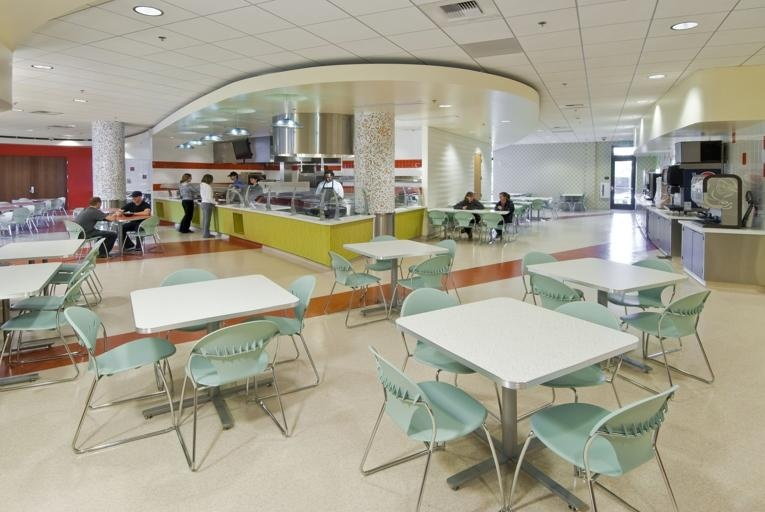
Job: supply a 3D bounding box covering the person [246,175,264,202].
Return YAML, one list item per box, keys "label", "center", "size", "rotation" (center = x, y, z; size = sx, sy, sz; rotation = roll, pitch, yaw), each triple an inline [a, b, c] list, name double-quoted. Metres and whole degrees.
- label: "person"
  center: [-3.047, -1.581, 12.179]
  size: [0.360, 0.635, 0.912]
  rotation: [-6, 9, -13]

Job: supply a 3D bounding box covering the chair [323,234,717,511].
- label: "chair"
  center: [1.150, 1.225, 4.578]
  size: [2.240, 1.346, 1.719]
  rotation: [-9, 16, -32]

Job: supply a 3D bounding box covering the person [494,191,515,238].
- label: "person"
  center: [3.079, -1.035, 12.894]
  size: [0.472, 1.129, 1.672]
  rotation: [0, 9, 15]

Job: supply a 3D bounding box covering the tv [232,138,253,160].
- label: "tv"
  center: [-4.626, -3.573, 16.994]
  size: [0.119, 0.521, 0.859]
  rotation: [-22, 18, -38]

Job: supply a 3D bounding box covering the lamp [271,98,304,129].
- label: "lamp"
  center: [-1.911, -2.819, 10.409]
  size: [0.840, 0.647, 0.706]
  rotation: [1, 6, -8]

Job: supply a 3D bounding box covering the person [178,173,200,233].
- label: "person"
  center: [-5.287, -1.413, 13.824]
  size: [0.572, 1.594, 1.079]
  rotation: [-7, 11, -17]

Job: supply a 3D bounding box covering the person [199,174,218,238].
- label: "person"
  center: [-4.496, -1.287, 13.152]
  size: [0.421, 1.584, 1.302]
  rotation: [-7, 11, -17]

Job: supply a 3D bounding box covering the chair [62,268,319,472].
- label: "chair"
  center: [-1.640, 0.994, 4.841]
  size: [2.229, 1.366, 1.376]
  rotation: [-7, 11, -28]
